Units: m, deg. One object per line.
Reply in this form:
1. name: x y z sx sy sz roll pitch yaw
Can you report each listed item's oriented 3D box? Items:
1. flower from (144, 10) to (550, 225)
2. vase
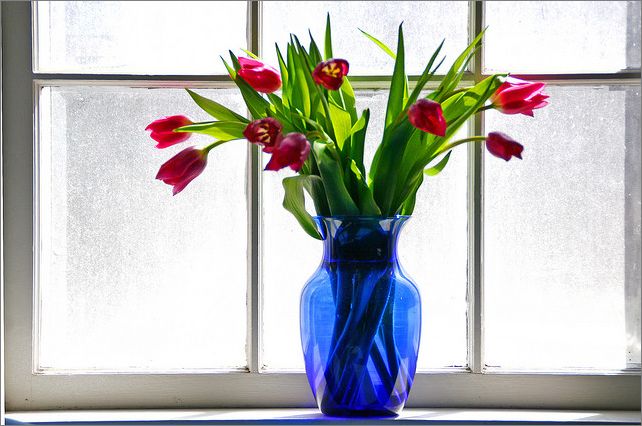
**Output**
1. flower: 0.035 -0.184 2.108 0.598 0.383 0.565 -6 7 -14
2. vase: 0.089 0.232 2.115 0.257 0.365 0.287 2 -35 2
